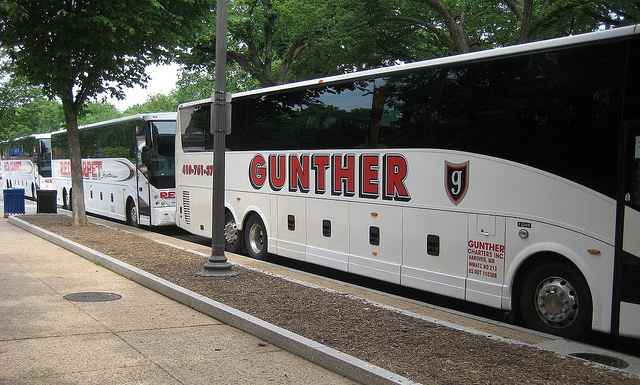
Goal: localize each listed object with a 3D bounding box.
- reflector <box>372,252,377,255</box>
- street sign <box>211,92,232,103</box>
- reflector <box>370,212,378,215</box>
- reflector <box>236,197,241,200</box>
[{"bbox_3d":[1.317,1.474,11.208,0.022,0.088,0.089,2,-2,-43],"label":"reflector"},{"bbox_3d":[-2.567,-2.469,11.895,0.366,0.246,0.047,1,1,-28],"label":"street sign"},{"bbox_3d":[1.306,0.505,11.163,0.059,0.040,0.120,-5,9,-43],"label":"reflector"},{"bbox_3d":[-2.674,0.171,14.924,0.102,0.072,0.056,9,10,42],"label":"reflector"}]
